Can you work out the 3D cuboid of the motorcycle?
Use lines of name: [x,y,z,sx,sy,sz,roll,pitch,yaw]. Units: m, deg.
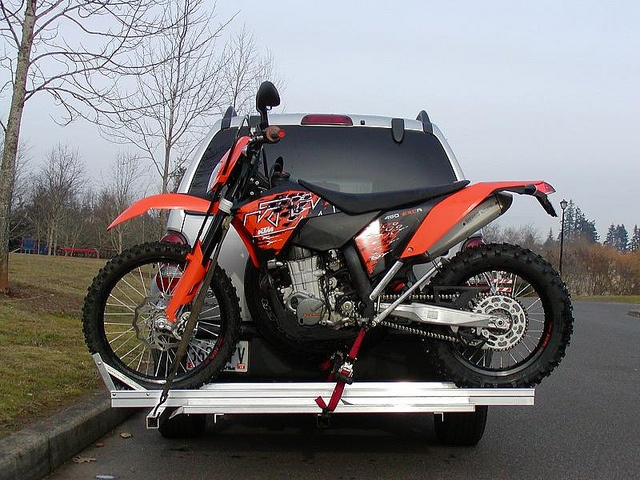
motorcycle: [0.016,0.088,3.575,3.603,1.982,1.094,0,0,0]
